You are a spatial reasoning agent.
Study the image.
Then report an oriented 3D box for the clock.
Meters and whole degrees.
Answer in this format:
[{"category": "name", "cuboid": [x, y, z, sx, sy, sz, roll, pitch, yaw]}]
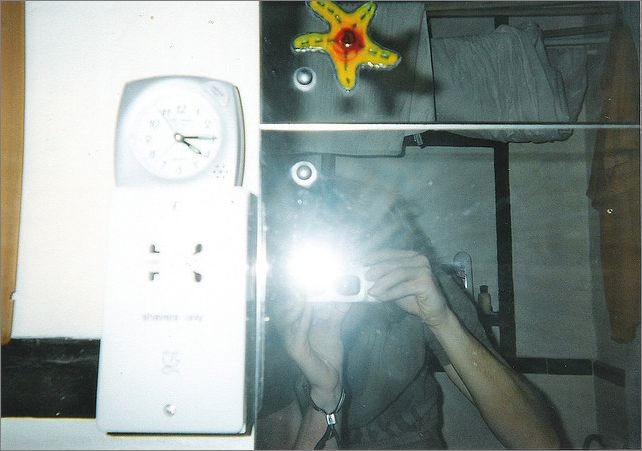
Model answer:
[{"category": "clock", "cuboid": [-0.491, -0.318, 2.576, 0.439, 0.350, 0.200, -7, -36, -5]}]
